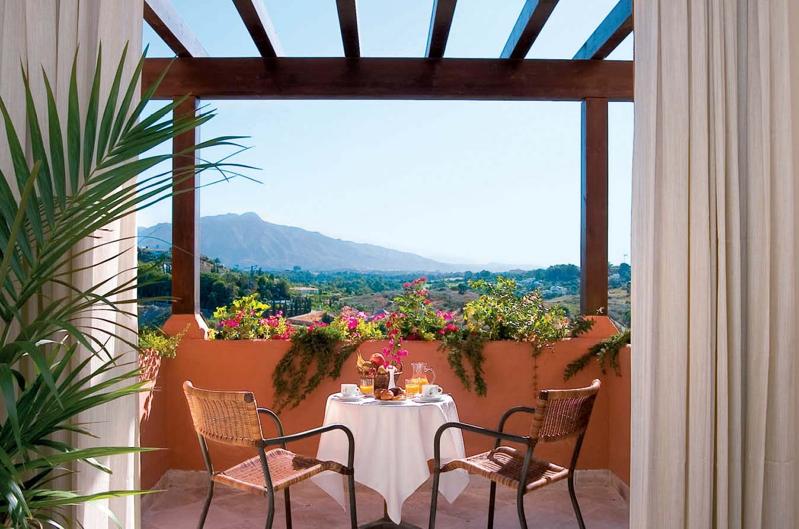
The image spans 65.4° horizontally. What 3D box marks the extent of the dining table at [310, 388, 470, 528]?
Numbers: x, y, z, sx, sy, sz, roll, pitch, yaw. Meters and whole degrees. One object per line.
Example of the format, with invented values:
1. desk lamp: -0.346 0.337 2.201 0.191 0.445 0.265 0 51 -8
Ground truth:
1. dining table: -0.018 1.227 4.416 0.878 0.782 0.892 -1 -6 16

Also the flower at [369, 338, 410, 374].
1. flower: -0.084 0.711 4.813 0.296 0.258 0.340 16 -5 10

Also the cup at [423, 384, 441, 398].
1. cup: 0.231 0.902 4.441 0.102 0.070 0.078 11 -19 -33

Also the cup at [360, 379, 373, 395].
1. cup: -0.233 0.876 4.471 0.095 0.103 0.103 1 -7 0

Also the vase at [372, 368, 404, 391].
1. vase: -0.093 0.818 4.492 0.172 0.121 0.152 -2 -4 39
